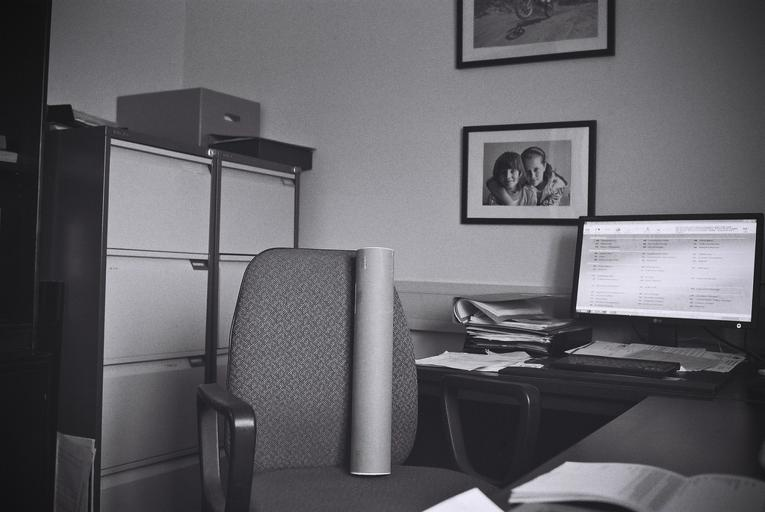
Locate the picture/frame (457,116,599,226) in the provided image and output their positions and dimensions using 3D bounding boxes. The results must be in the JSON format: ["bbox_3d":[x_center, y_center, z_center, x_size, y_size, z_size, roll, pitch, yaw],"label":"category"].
[{"bbox_3d":[0.722,-0.402,2.744,0.564,0.419,0.024,-1,-6,15],"label":"picture/frame"}]

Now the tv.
[{"bbox_3d":[1.180,0.092,2.349,0.569,0.427,0.134,0,-1,27],"label":"tv"}]

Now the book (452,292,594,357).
[{"bbox_3d":[0.562,0.288,2.401,0.361,0.165,0.321,-2,-2,34],"label":"book"}]
